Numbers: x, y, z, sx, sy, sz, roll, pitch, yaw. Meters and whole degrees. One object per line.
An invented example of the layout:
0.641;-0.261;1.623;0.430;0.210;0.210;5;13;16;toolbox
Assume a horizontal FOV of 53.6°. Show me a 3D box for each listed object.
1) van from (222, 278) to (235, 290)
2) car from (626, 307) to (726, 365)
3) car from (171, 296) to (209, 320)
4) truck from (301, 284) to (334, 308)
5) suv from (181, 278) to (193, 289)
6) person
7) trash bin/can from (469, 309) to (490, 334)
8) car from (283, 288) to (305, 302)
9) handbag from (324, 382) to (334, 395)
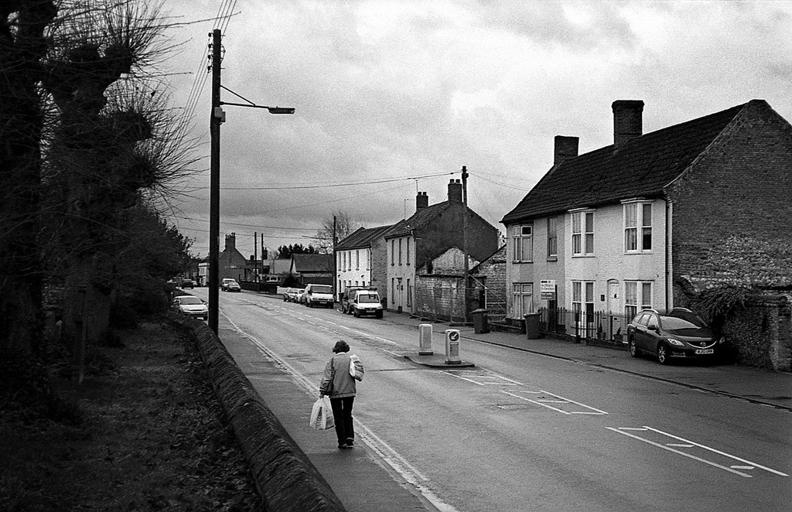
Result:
-23.922;4.214;111.917;1.749;1.702;3.514;0;-6;-16;van
10.341;3.041;29.498;1.737;2.065;3.316;4;-4;-21;car
-11.937;2.979;45.956;1.682;1.203;3.451;3;-5;-27;car
-7.085;3.763;71.518;2.578;2.016;3.097;3;-4;-8;truck
-27.326;3.777;102.306;1.225;1.013;2.178;1;-7;-13;suv
-1.281;3.100;17.455;0.768;2.322;0.641;3;-3;-3;person
4.723;3.690;43.661;1.154;1.442;1.167;-1;2;-12;trash bin/can
-10.040;4.054;78.409;1.296;1.055;2.858;1;-7;-24;car
-1.472;2.956;17.283;0.244;0.250;0.187;3;-2;-28;handbag
